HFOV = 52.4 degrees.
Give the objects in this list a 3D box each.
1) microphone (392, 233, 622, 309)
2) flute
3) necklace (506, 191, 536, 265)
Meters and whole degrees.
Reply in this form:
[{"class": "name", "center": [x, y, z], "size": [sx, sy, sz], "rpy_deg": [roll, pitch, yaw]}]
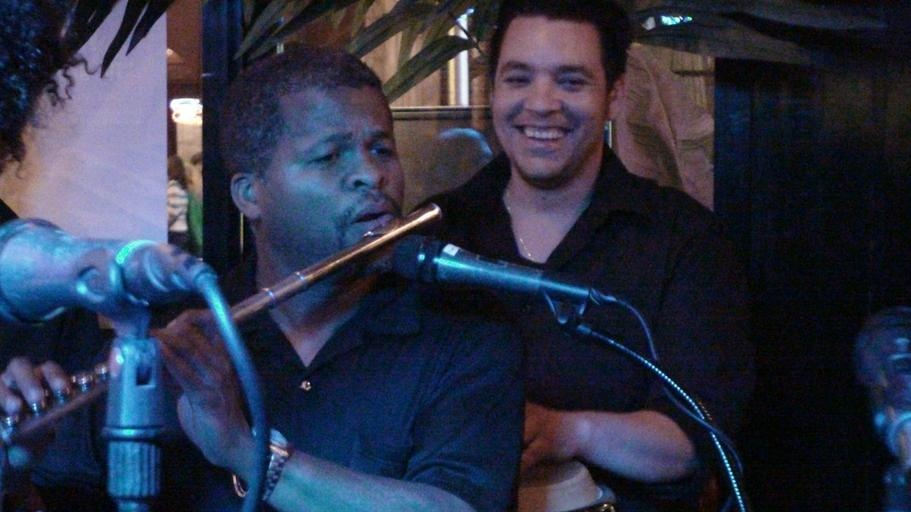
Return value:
[{"class": "microphone", "center": [0.096, 0.033, 1.759], "size": [0.385, 0.063, 0.076], "rpy_deg": [10, -16, 11]}, {"class": "flute", "center": [-0.459, 0.125, 1.710], "size": [0.927, 0.087, 0.085], "rpy_deg": [-24, -35, -9]}, {"class": "necklace", "center": [0.129, -0.059, 1.868], "size": [0.023, 0.160, 0.018], "rpy_deg": [-30, -10, 2]}]
